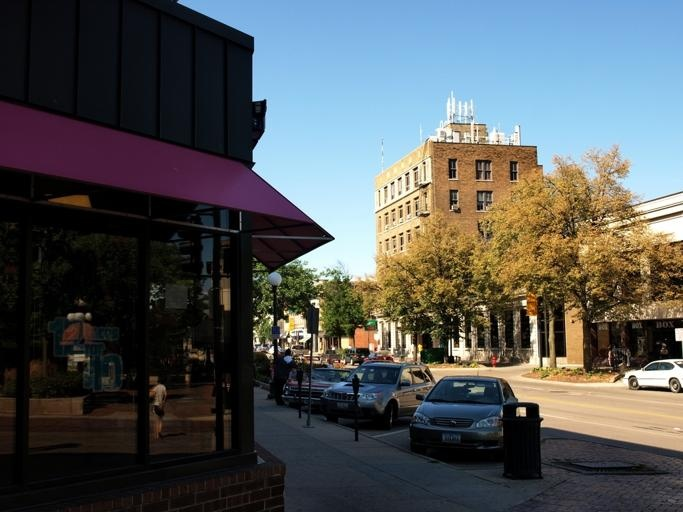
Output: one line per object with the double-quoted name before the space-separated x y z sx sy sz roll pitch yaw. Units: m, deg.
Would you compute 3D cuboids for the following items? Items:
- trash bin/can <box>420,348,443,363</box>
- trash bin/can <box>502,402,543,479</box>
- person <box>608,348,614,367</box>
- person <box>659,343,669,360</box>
"trash bin/can" 6.503 7.091 60.419 1.593 0.796 2.092 -1 -3 6
"trash bin/can" 3.178 3.211 14.804 0.676 1.306 0.643 -1 -10 11
"person" 15.833 5.831 49.349 0.384 1.107 1.045 -2 -10 19
"person" 17.377 5.002 45.395 0.462 0.939 1.792 -3 -11 21
